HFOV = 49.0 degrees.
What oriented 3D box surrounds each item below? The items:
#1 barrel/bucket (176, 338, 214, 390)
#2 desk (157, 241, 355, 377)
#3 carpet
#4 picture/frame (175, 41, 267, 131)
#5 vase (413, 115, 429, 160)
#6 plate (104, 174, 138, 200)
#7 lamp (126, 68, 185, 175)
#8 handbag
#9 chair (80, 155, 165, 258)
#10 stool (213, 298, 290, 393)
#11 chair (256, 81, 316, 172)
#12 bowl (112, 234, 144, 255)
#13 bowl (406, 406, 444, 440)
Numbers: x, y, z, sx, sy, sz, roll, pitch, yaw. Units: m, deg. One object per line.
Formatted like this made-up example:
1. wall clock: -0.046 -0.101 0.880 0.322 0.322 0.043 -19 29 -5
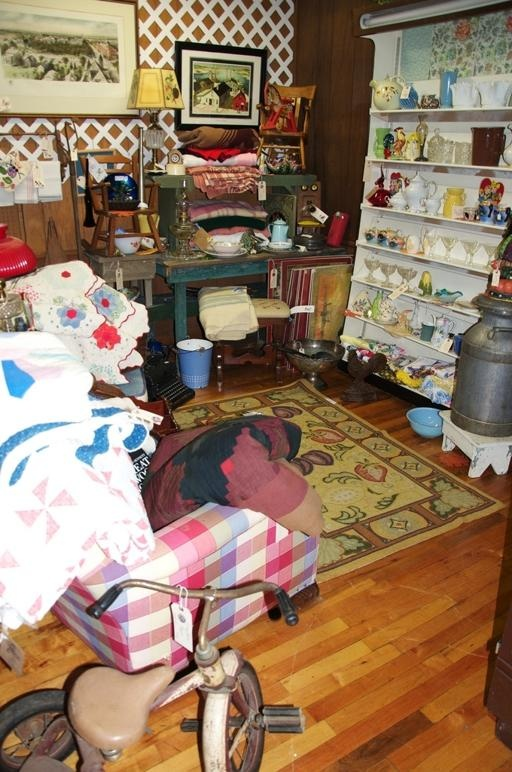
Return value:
1. barrel/bucket: -0.470 -0.211 4.281 0.340 0.349 0.344 1 20 0
2. desk: -0.158 -0.613 4.541 1.158 0.756 0.633 -8 8 -14
3. carpet: 0.313 0.427 3.353 1.288 0.059 1.936 -10 24 -27
4. picture/frame: -0.279 -2.399 4.529 0.796 0.601 0.035 17 30 22
5. vase: 1.101 -1.638 3.726 0.092 0.274 0.364 8 23 13
6. plate: -0.898 -1.337 3.763 0.213 0.159 0.239 -2 23 -13
7. lamp: -0.714 -1.881 4.021 0.370 0.654 0.540 0 22 -8
8. handbag: -0.226 0.523 1.871 0.677 0.445 0.508 -17 35 -30
9. chair: -0.914 -1.290 3.901 0.533 0.740 0.562 24 26 39
10. stool: -0.068 -0.387 4.467 0.580 0.574 0.565 -2 17 -17
11. chair: 0.223 -2.052 4.450 0.388 0.614 0.461 3 28 -1
12. bowl: -0.901 -1.007 3.938 0.177 0.141 0.237 -2 23 -14
13. bowl: 1.114 0.243 3.713 0.205 0.100 0.206 0 37 0
